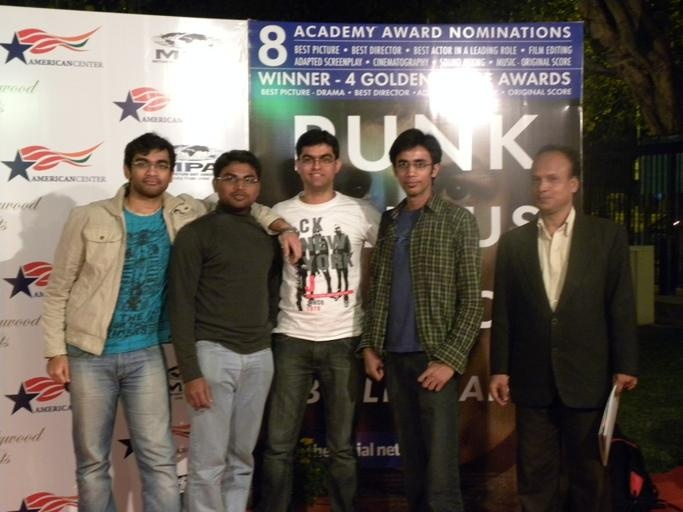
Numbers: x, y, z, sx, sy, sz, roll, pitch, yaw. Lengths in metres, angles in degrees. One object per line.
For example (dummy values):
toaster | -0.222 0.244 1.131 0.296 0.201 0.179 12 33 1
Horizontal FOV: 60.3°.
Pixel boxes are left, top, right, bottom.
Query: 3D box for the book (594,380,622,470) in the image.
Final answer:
book | 1.661 1.116 3.717 0.106 0.430 0.437 10 41 23

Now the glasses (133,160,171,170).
glasses | -1.245 -0.594 3.853 0.228 0.062 0.059 -4 5 -24
